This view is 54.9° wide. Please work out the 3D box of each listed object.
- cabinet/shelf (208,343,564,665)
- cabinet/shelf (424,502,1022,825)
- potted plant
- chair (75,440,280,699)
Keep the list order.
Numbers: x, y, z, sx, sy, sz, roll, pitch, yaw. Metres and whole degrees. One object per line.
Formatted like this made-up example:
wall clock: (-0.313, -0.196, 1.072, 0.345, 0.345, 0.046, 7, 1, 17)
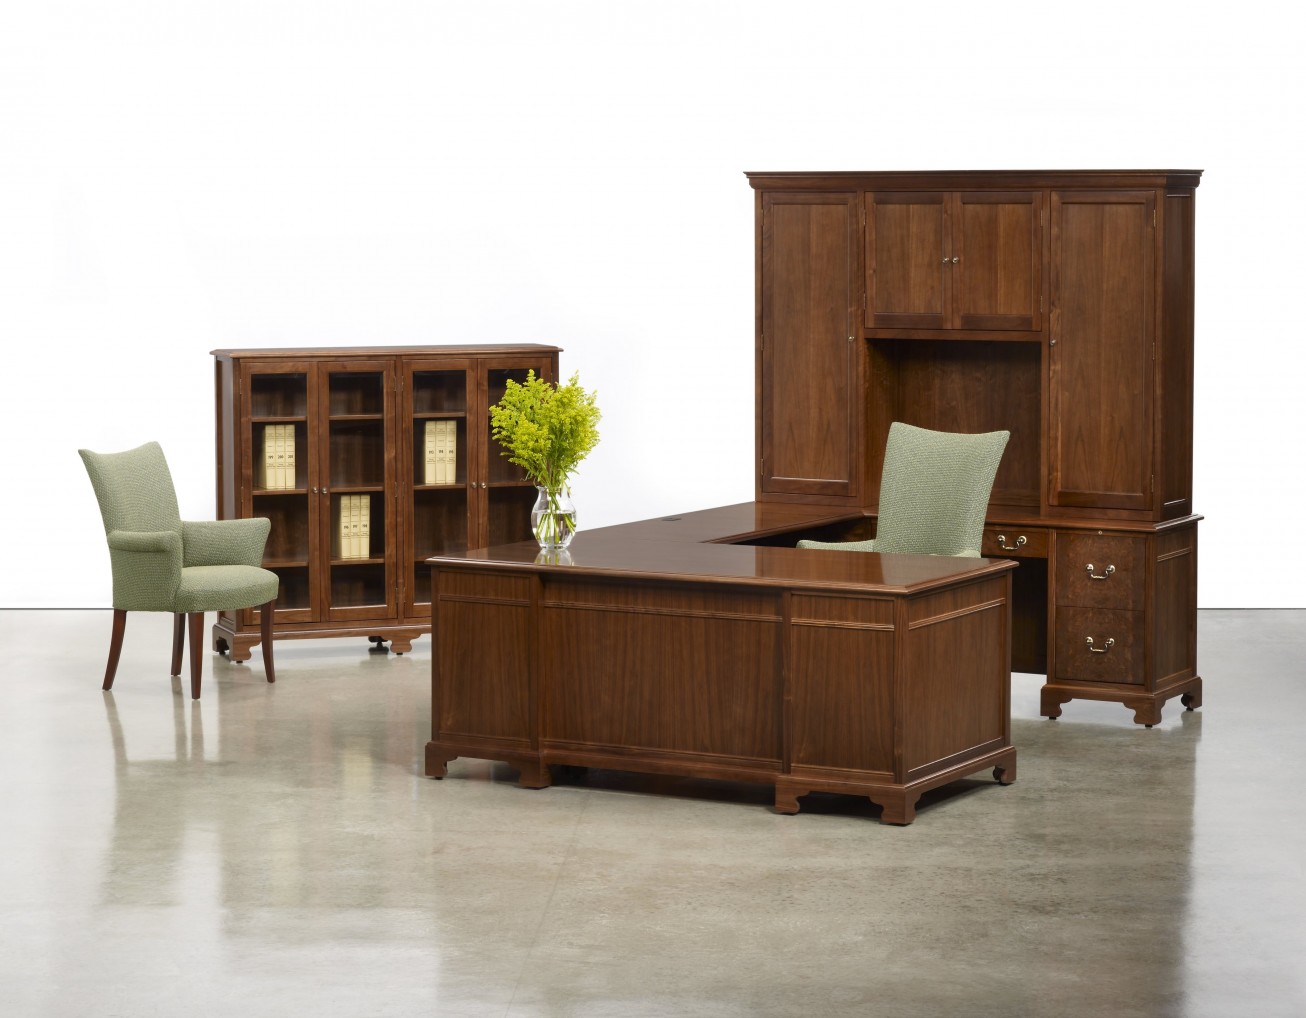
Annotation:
cabinet/shelf: (-1.592, -0.036, 7.131, 2.330, 1.771, 0.737, -1, 3, -18)
cabinet/shelf: (0.309, 0.659, 5.222, 2.187, 0.970, 0.980, 2, 9, 22)
potted plant: (-0.444, -0.159, 5.440, 0.461, 0.620, 0.410, -5, -3, -3)
chair: (-2.642, 0.316, 7.066, 0.957, 1.325, 0.899, -5, 9, -20)
